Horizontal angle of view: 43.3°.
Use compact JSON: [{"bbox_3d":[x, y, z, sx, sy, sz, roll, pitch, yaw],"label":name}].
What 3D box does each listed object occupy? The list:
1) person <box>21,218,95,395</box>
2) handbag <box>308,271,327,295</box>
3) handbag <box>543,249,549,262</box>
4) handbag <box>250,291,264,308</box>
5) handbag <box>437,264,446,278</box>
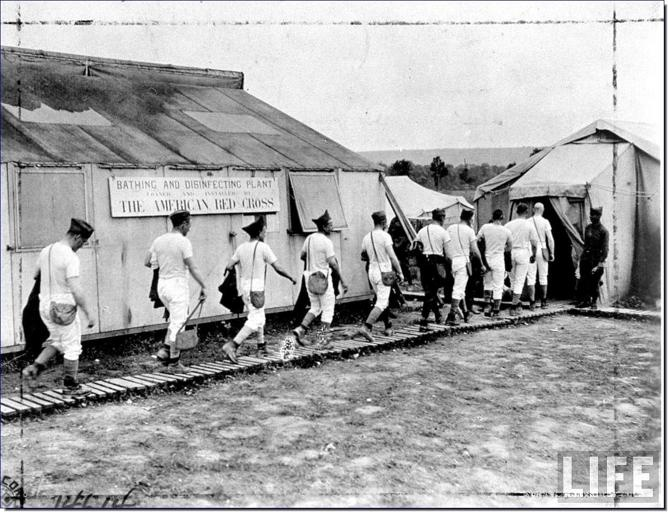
[{"bbox_3d":[-3.784,0.710,11.753,0.951,2.377,0.626,3,14,5],"label":"person"},{"bbox_3d":[-0.267,0.446,14.058,0.279,0.383,0.133,2,-4,3],"label":"handbag"},{"bbox_3d":[4.466,-0.024,17.612,0.056,0.200,0.185,-8,-6,40],"label":"handbag"},{"bbox_3d":[-1.213,0.691,13.400,0.229,0.285,0.105,-6,17,-29],"label":"handbag"},{"bbox_3d":[2.001,0.265,15.507,0.151,0.234,0.065,1,-4,-21],"label":"handbag"}]
